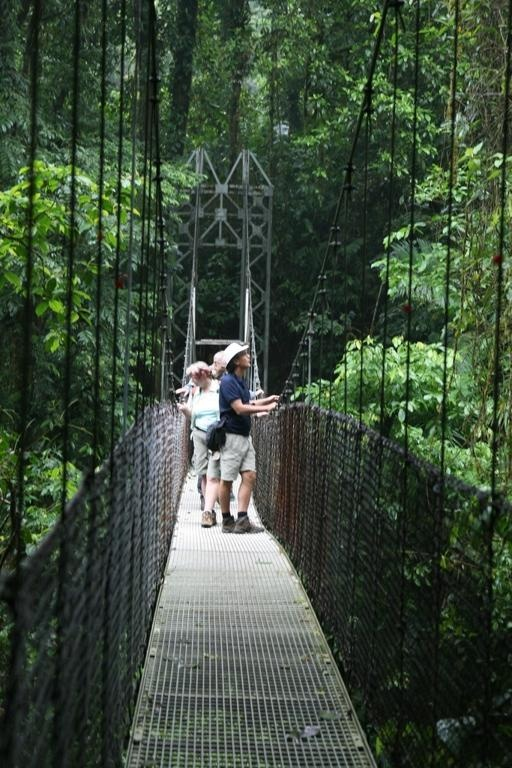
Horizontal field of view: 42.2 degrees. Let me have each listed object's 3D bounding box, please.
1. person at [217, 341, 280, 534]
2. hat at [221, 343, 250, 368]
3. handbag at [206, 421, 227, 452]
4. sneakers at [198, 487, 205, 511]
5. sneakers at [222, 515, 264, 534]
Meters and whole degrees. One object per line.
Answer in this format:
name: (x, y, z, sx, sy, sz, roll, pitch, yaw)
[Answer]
person: (-0.092, 0.364, 4.302, 0.308, 1.252, 0.459, 1, -1, -3)
hat: (-0.143, -0.188, 4.360, 0.143, 0.169, 0.231, 1, -1, -3)
handbag: (-0.263, 0.343, 4.323, 0.104, 0.333, 0.204, 1, -12, 0)
sneakers: (-0.484, 1.017, 5.889, 0.052, 0.113, 0.225, 0, -16, -3)
sneakers: (-0.096, 0.902, 4.497, 0.283, 0.202, 0.124, 1, 1, -17)
